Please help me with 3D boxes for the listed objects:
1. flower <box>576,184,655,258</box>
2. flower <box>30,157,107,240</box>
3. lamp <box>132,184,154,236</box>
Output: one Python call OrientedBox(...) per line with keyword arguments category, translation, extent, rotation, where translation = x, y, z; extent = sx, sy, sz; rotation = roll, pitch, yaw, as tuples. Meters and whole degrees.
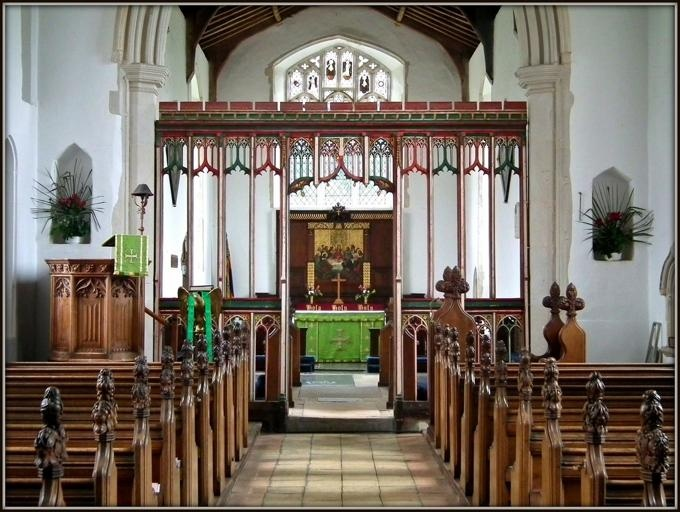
OrientedBox(category="flower", translation=(3.260, -0.381, 11.243), extent=(0.752, 0.726, 0.819), rotation=(-15, 17, -36))
OrientedBox(category="flower", translation=(-3.249, -0.648, 11.318), extent=(0.827, 0.876, 0.847), rotation=(1, -4, -3))
OrientedBox(category="lamp", translation=(-2.244, -0.537, 10.828), extent=(0.251, 0.606, 0.698), rotation=(0, -1, -12))
